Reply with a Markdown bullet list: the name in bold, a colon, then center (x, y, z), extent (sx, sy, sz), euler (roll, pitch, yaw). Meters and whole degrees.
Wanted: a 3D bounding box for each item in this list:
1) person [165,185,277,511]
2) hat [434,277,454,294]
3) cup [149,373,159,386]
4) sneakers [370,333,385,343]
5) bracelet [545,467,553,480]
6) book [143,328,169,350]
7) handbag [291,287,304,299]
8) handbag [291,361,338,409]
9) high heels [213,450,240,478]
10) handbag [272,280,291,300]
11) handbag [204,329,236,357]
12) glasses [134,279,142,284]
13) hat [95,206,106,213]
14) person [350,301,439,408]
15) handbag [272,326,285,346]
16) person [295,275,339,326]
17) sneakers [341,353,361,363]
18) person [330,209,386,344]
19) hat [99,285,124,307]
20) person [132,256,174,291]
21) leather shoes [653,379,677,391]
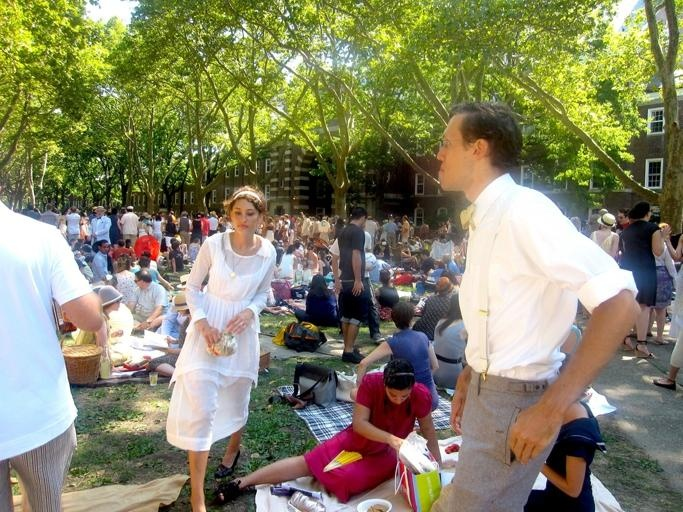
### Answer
- **person**: center (-1.019, 0.645, 3.900), extent (0.504, 2.491, 0.866), euler (2, 2, 32)
- **hat**: center (1.734, 0.437, 7.719), extent (0.201, 0.308, 0.295), euler (18, 48, 13)
- **cup**: center (-2.504, 1.644, 6.256), extent (0.119, 0.156, 0.131), euler (3, 3, 0)
- **sneakers**: center (0.691, 1.509, 8.643), extent (0.109, 0.138, 0.334), euler (6, -20, -20)
- **bracelet**: center (1.262, 1.312, 2.837), extent (0.014, 0.060, 0.059), euler (-35, -41, 19)
- **book**: center (-3.009, 1.368, 7.641), extent (0.306, 0.102, 0.310), euler (12, 7, -27)
- **handbag**: center (-1.134, 0.979, 12.510), extent (0.269, 0.274, 0.286), euler (-3, 6, -14)
- **handbag**: center (-0.319, 1.605, 6.000), extent (0.474, 0.501, 0.479), euler (14, 1, 13)
- **high heels**: center (-1.018, 1.897, 4.209), extent (0.102, 0.125, 0.302), euler (3, -15, 11)
- **handbag**: center (-1.480, 0.866, 11.844), extent (0.399, 0.496, 0.457), euler (1, 10, 10)
- **handbag**: center (-0.919, 0.691, 3.739), extent (0.147, 0.123, 0.190), euler (3, 6, 7)
- **glasses**: center (-3.787, 0.440, 8.756), extent (0.082, 0.123, 0.064), euler (-1, 8, -45)
- **hat**: center (-8.206, -1.595, 15.990), extent (0.430, 0.145, 0.462), euler (2, -1, -2)
- **person**: center (0.756, 1.066, 5.463), extent (0.965, 1.427, 1.099), euler (-3, 5, -17)
- **handbag**: center (-1.157, 1.488, 8.699), extent (0.186, 0.272, 0.151), euler (16, -8, 2)
- **person**: center (-0.468, 0.975, 9.870), extent (1.006, 1.075, 0.859), euler (1, 13, -6)
- **sneakers**: center (0.187, 1.598, 7.408), extent (0.250, 0.114, 0.148), euler (5, 0, -4)
- **person**: center (0.246, 0.391, 8.065), extent (0.667, 2.462, 0.777), euler (4, -2, -38)
- **hat**: center (-3.142, 0.544, 6.413), extent (0.352, 0.152, 0.339), euler (-15, 7, -6)
- **person**: center (-4.547, 0.406, 11.398), extent (0.653, 1.113, 0.316), euler (-25, 27, -36)
- **leather shoes**: center (4.400, 1.739, 6.335), extent (0.241, 0.108, 0.107), euler (13, 10, 35)
